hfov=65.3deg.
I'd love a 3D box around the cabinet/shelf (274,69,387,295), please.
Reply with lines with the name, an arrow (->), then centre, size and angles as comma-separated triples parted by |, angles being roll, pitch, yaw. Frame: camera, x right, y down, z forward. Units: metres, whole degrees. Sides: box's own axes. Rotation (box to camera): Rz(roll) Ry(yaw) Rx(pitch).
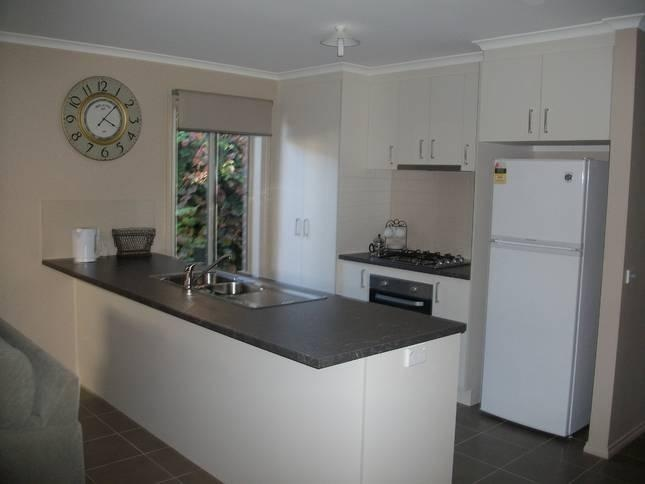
cabinet/shelf -> -0.110, -0.449, 5.553 | 0.880, 1.948, 0.730 | 18, 32, 25

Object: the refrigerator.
refrigerator -> 1.679, 0.412, 3.894 | 0.819, 2.075, 0.559 | 6, 15, 30

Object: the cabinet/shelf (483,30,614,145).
cabinet/shelf -> 1.730, -1.179, 3.784 | 0.795, 0.598, 0.311 | 8, 9, 44

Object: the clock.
clock -> -2.033, -1.146, 4.562 | 0.754, 0.855, 0.147 | -5, 7, -36

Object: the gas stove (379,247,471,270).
gas stove -> 0.912, 0.168, 4.823 | 0.904, 0.086, 0.635 | 6, 16, 29

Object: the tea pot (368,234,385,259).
tea pot -> 0.549, 0.058, 5.183 | 0.166, 0.201, 0.173 | 2, 13, 0

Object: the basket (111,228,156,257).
basket -> -1.777, -0.005, 4.757 | 0.407, 0.299, 0.244 | -5, 7, -38

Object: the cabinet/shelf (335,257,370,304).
cabinet/shelf -> 0.387, 0.381, 5.107 | 0.429, 0.442, 0.289 | 9, 17, 36

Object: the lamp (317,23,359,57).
lamp -> 0.140, -1.508, 3.776 | 0.241, 0.221, 0.271 | 5, 9, 37

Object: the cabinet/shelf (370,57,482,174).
cabinet/shelf -> 0.989, -1.145, 4.912 | 1.104, 0.858, 0.427 | 7, 11, 32
